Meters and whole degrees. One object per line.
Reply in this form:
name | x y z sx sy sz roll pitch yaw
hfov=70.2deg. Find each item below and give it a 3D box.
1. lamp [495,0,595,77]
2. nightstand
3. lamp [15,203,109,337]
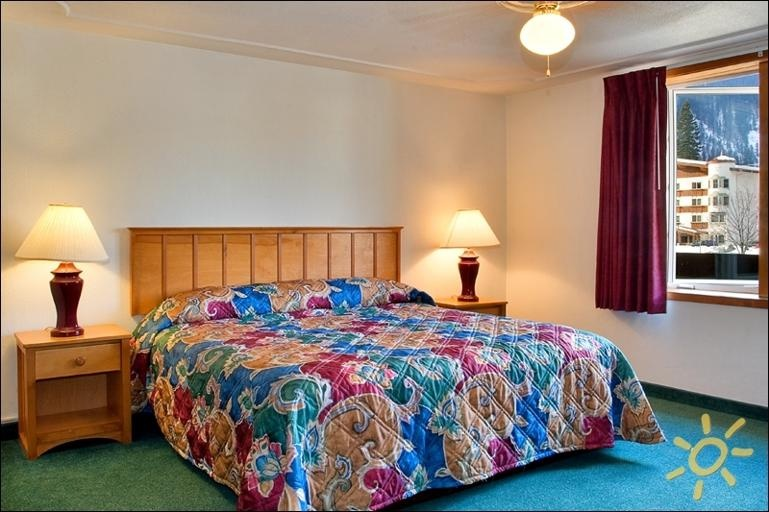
lamp | 1.171 -1.570 3.880 0.499 0.436 0.497 -2 10 5
nightstand | -2.325 0.996 4.048 0.668 0.764 0.494 0 0 -41
lamp | -2.337 0.094 3.979 0.438 0.919 0.374 4 13 18
